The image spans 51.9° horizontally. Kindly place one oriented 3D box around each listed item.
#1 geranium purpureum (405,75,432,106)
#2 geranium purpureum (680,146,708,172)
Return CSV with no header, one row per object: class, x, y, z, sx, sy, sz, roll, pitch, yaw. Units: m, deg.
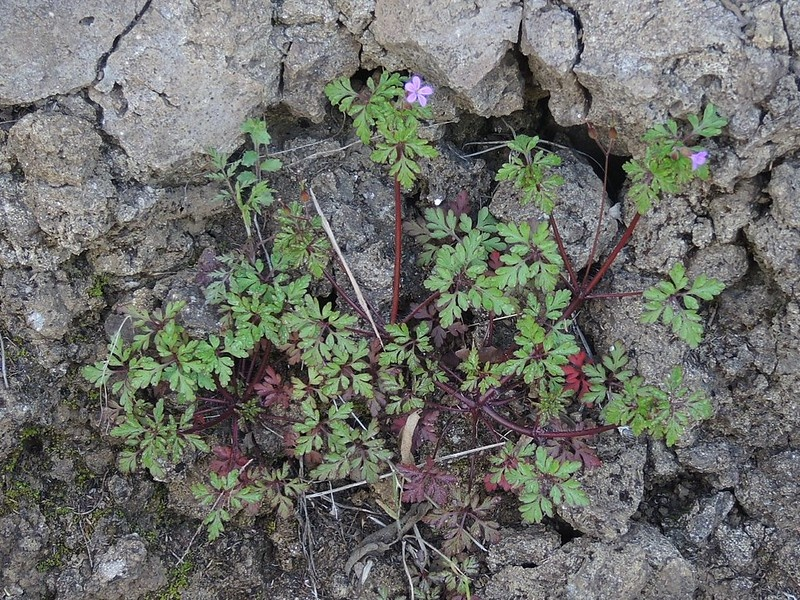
geranium purpureum,0.124,-1.378,5.594,0.179,0.318,0.158,11,81,3
geranium purpureum,1.955,-0.934,5.480,0.176,0.052,0.146,19,75,10
